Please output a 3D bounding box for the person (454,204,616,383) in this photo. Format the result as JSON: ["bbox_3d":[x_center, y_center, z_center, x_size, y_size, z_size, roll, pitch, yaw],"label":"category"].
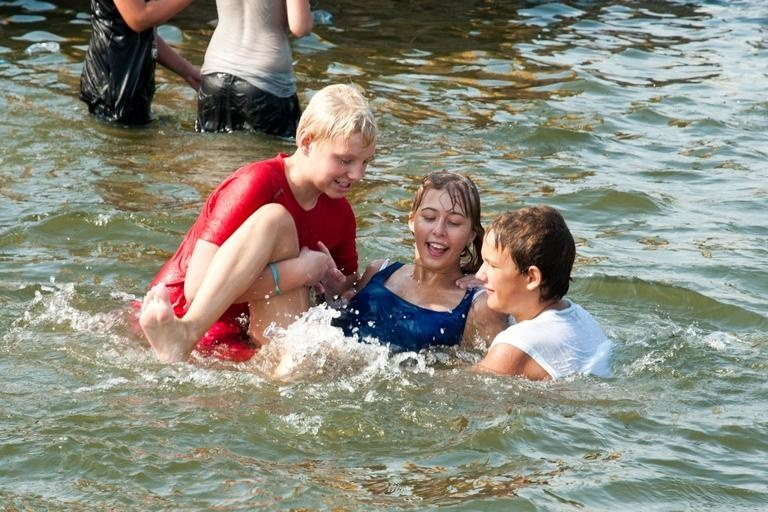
[{"bbox_3d":[1.215,0.302,6.918,1.183,1.188,1.455,9,16,38],"label":"person"}]

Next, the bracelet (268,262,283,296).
[{"bbox_3d":[-0.782,0.168,6.455,0.102,0.229,0.047,5,20,-12],"label":"bracelet"}]

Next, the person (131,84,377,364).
[{"bbox_3d":[-0.852,-0.269,6.546,1.739,2.004,0.855,2,20,-18],"label":"person"}]
